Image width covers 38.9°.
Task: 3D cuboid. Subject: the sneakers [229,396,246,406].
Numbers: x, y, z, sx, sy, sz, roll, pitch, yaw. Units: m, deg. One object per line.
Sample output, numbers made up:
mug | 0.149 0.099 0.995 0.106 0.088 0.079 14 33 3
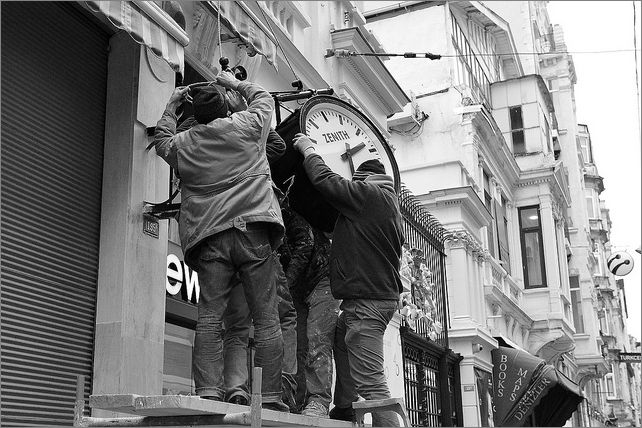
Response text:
sneakers | -0.929 2.116 10.363 0.142 0.053 0.111 0 -23 -4

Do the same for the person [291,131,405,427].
person | 0.493 0.787 11.019 0.985 2.715 1.214 -4 -25 9

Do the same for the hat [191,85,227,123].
hat | -1.303 -1.321 10.791 0.428 0.387 0.413 -12 -35 0

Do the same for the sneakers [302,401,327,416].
sneakers | -0.048 2.352 11.007 0.331 0.216 0.295 4 -25 -8
